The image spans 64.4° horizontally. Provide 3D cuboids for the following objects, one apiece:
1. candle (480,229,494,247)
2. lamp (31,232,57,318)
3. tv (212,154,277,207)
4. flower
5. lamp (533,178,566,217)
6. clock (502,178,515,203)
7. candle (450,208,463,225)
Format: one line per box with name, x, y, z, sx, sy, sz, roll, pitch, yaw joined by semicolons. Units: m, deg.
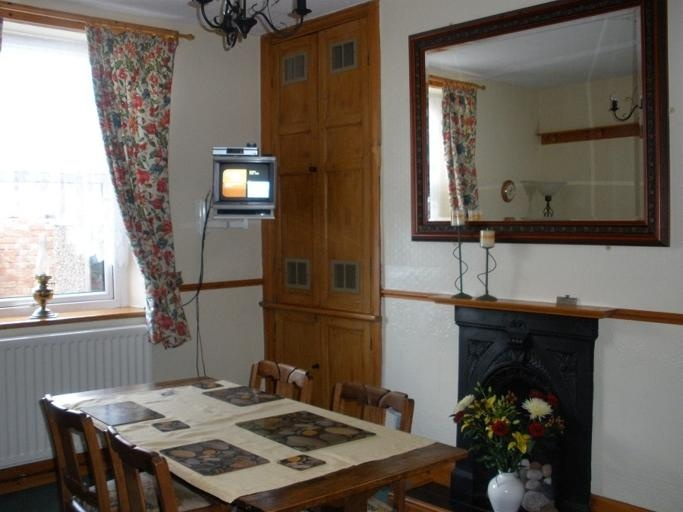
candle;0.869;-0.109;3.255;0.084;0.100;0.087;1;-3;-3
lamp;-2.148;0.152;3.893;0.150;0.563;0.325;-4;8;-29
tv;-0.684;-0.533;3.849;0.555;0.428;0.310;0;2;-7
flower;0.958;0.977;3.192;0.597;0.571;0.631;-4;-3;11
lamp;1.202;-0.348;3.172;0.172;0.211;0.179;1;-1;-4
clock;1.022;-0.406;3.327;0.130;0.168;0.021;9;11;43
candle;0.715;-0.253;3.415;0.076;0.096;0.085;0;-1;-9
